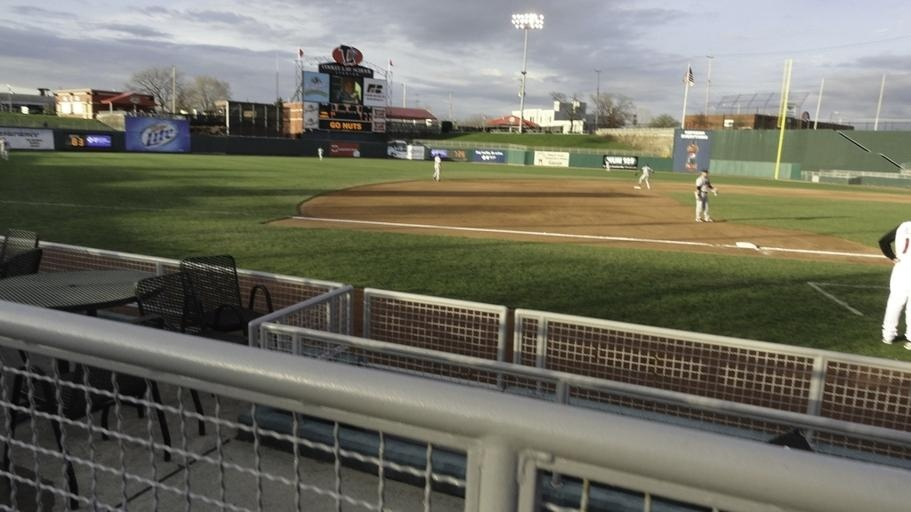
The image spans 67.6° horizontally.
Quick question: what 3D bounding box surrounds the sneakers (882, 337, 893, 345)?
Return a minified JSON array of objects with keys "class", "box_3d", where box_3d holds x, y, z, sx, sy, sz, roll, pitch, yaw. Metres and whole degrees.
[{"class":"sneakers","box_3d":[7.265,1.439,11.452,0.140,0.041,0.115,-6,54,15]}]
